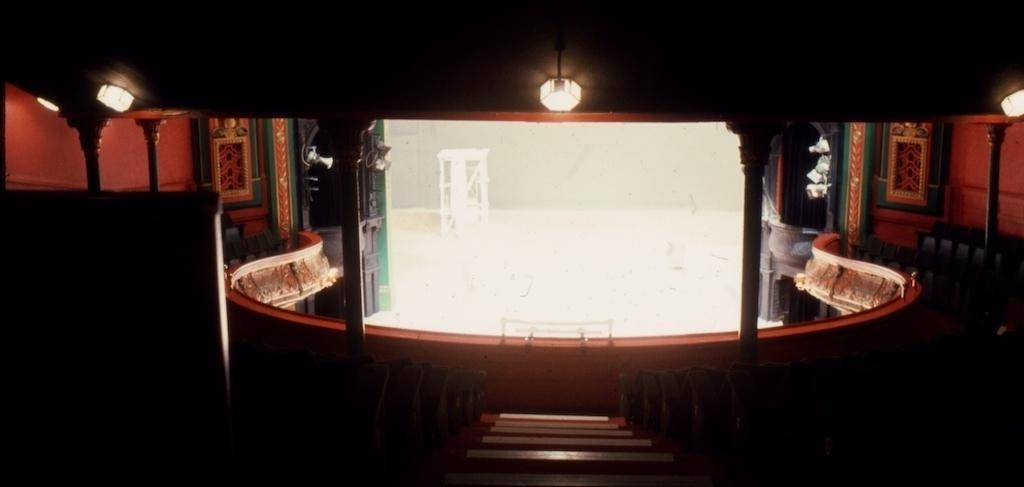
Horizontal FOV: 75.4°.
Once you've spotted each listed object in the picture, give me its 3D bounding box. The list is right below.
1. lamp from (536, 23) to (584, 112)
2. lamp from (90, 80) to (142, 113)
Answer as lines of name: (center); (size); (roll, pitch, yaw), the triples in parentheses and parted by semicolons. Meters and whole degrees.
lamp: (0.597, -2.129, 8.183); (0.550, 0.929, 0.605); (1, 7, 4)
lamp: (-4.894, -1.820, 8.172); (0.410, 0.220, 0.384); (23, -5, -19)
